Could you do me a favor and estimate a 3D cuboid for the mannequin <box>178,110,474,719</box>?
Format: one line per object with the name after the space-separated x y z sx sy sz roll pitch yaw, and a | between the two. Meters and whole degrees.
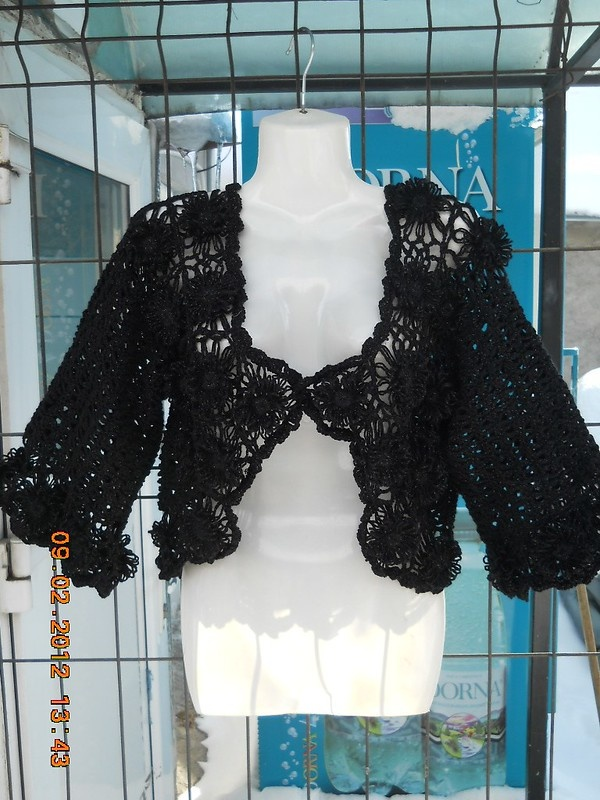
0.009 0.030 2.291 0.559 1.295 0.198 -2 6 -5 | mannequin
